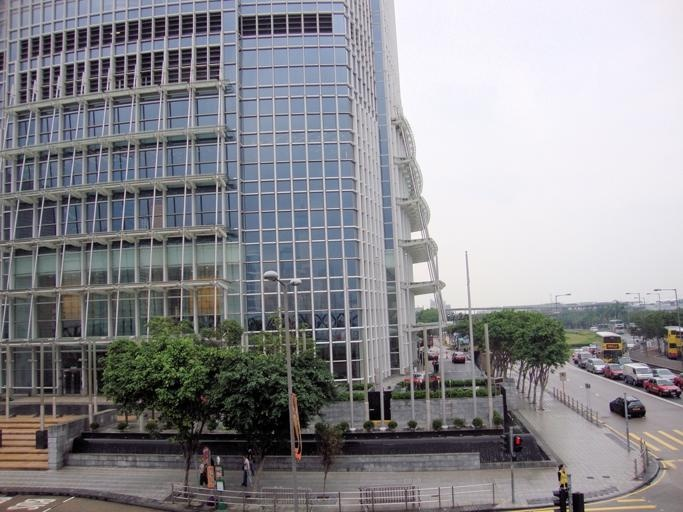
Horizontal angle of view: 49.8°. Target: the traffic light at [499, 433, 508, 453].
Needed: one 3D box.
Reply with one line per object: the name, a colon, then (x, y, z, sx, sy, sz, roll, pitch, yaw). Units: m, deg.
traffic light: (11.239, 12.744, 50.830, 0.447, 1.207, 1.134, -4, -11, -4)
